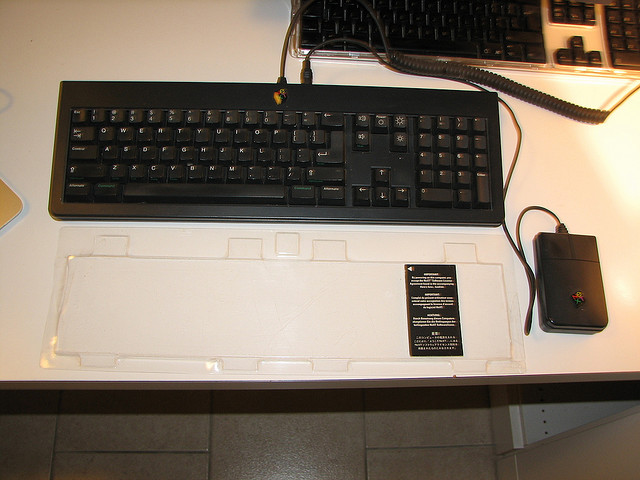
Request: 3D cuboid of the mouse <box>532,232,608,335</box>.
[{"bbox_3d":[0.493,0.088,1.051,0.126,0.043,0.193,2,73,1],"label":"mouse"}]
